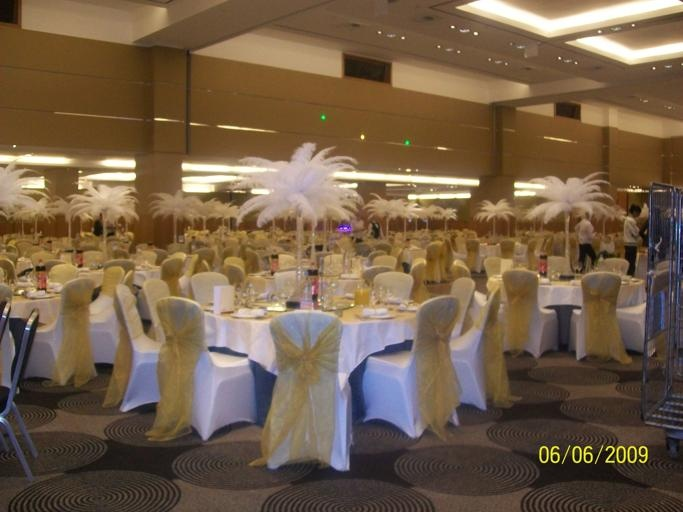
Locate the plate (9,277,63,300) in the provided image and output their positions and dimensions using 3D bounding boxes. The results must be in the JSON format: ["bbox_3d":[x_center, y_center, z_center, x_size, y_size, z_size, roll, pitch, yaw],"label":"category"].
[{"bbox_3d":[-3.214,0.369,5.642,0.415,0.116,0.436,7,5,37],"label":"plate"}]
